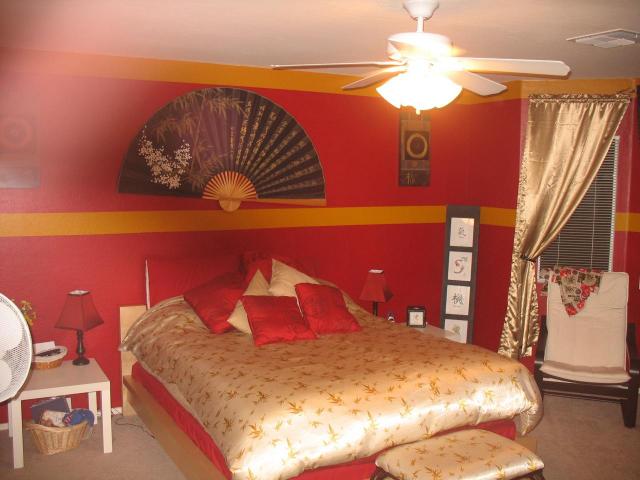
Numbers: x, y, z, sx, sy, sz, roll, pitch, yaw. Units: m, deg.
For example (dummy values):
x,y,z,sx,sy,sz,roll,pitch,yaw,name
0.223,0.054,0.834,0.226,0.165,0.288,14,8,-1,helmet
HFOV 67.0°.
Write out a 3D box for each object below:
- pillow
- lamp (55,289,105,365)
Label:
x,y,z,sx,sy,sz,roll,pitch,yaw,name
-0.394,0.553,4.582,0.948,0.284,0.889,-6,27,-30,pillow
-2.205,0.805,4.449,0.374,0.721,0.423,-9,17,-28,lamp
